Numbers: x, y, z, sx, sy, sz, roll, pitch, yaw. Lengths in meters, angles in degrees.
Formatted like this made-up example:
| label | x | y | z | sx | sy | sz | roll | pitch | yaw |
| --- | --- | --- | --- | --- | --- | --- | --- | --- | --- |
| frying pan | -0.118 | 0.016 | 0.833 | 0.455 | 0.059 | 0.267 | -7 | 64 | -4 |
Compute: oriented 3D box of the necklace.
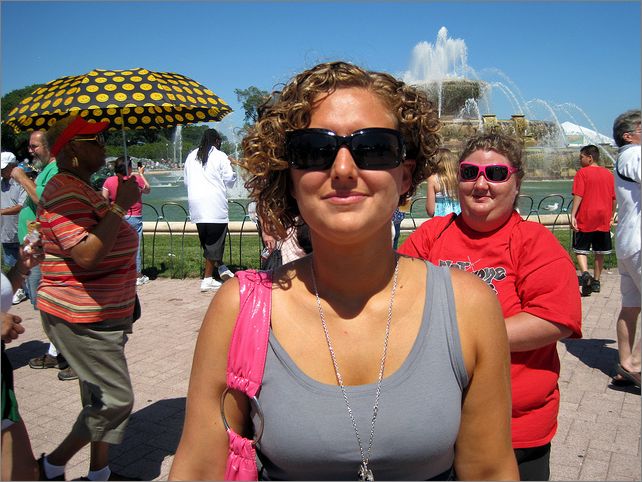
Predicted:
| label | x | y | z | sx | sy | sz | roll | pitch | yaw |
| --- | --- | --- | --- | --- | --- | --- | --- | --- | --- |
| necklace | 0.163 | 0.466 | 1.866 | 0.222 | 0.807 | 0.056 | 1 | -21 | 1 |

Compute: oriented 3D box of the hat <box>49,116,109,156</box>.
| label | x | y | z | sx | sy | sz | roll | pitch | yaw |
| --- | --- | --- | --- | --- | --- | --- | --- | --- | --- |
| hat | -1.806 | -0.795 | 3.662 | 0.365 | 0.164 | 0.223 | -40 | 17 | -15 |

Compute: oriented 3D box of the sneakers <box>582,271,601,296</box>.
| label | x | y | z | sx | sy | sz | roll | pitch | yaw |
| --- | --- | --- | --- | --- | --- | --- | --- | --- | --- |
| sneakers | 4.553 | 0.724 | 8.197 | 0.244 | 0.296 | 0.669 | -4 | -23 | 16 |

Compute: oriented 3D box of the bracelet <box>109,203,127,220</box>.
| label | x | y | z | sx | sy | sz | roll | pitch | yaw |
| --- | --- | --- | --- | --- | --- | --- | --- | --- | --- |
| bracelet | -1.440 | -0.214 | 3.445 | 0.072 | 0.105 | 0.101 | -33 | -5 | -33 |
